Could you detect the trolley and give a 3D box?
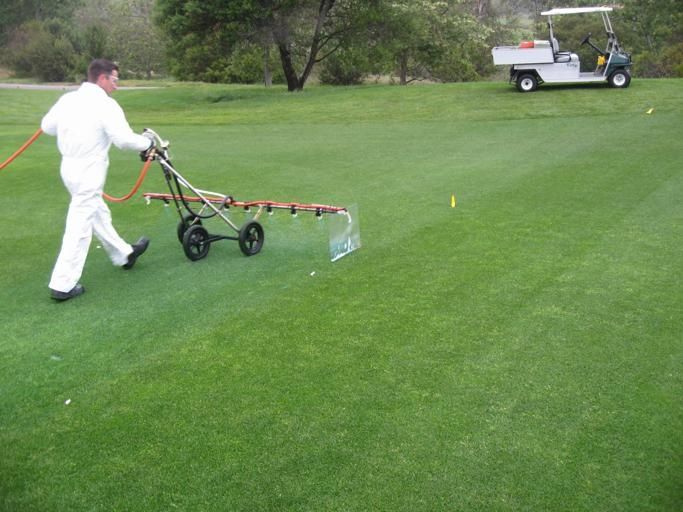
[{"bbox_3d":[-1.851,-0.739,7.573,0.915,1.523,1.502,-9,-18,22],"label":"trolley"}]

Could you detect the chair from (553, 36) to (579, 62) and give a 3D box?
[{"bbox_3d":[8.240,-7.528,21.700,0.814,0.823,0.894,1,16,20],"label":"chair"}]

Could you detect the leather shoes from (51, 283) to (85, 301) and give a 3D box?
[{"bbox_3d":[-3.183,0.430,6.901,0.136,0.171,0.387,24,33,27],"label":"leather shoes"}]
